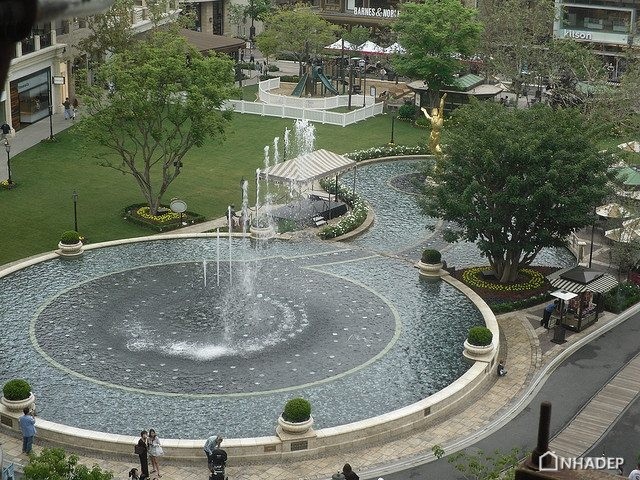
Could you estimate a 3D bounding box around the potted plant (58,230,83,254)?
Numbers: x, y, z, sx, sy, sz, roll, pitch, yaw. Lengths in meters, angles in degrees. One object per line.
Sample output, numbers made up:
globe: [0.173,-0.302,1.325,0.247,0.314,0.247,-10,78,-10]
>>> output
potted plant: [-14.131,0.111,47.286,1.352,1.179,1.278,2,13,1]

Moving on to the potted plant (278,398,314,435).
potted plant: [-1.056,6.958,33.057,1.445,1.135,1.376,-7,24,-24]

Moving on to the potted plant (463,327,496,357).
potted plant: [7.335,4.761,39.025,1.424,1.247,1.342,-4,19,-7]

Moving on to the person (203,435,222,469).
person: [-4.047,7.975,31.058,0.733,1.502,0.503,13,46,-2]

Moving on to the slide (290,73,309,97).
slide: [-2.221,-16.586,88.845,0.979,0.711,4.030,5,45,12]

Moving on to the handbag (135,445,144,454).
handbag: [-6.751,7.813,30.958,0.439,0.388,0.161,-1,-3,-3]

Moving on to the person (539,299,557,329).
person: [11.969,3.773,43.924,0.675,1.164,1.893,7,22,15]

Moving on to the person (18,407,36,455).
person: [-11.386,7.360,32.280,0.639,1.849,0.946,-8,24,-20]

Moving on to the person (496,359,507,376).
person: [8.415,6.050,39.045,0.548,0.676,0.386,-9,19,-7]

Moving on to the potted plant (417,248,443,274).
potted plant: [6.075,1.134,47.286,1.410,1.232,1.333,-2,15,-7]
